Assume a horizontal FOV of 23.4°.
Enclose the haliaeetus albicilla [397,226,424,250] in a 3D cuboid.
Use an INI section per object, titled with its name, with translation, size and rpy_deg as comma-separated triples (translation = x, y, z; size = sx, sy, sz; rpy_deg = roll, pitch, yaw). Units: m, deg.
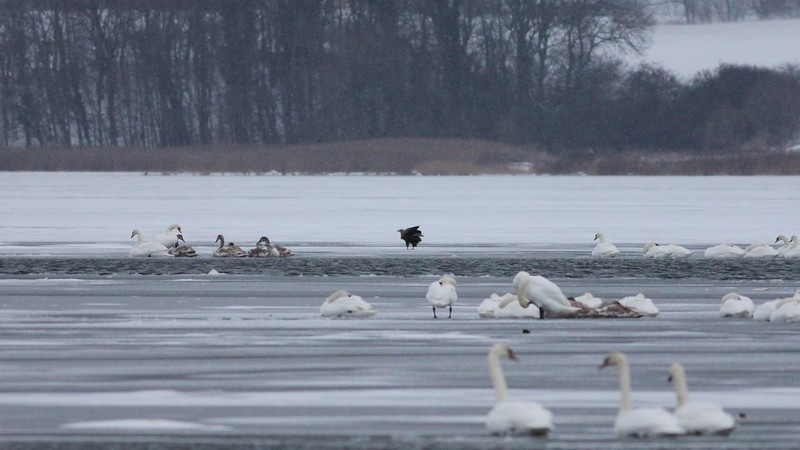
[haliaeetus albicilla]
translation = 0.619, 0.638, 118.317
size = 1.543, 0.827, 1.465
rpy_deg = 8, -7, 12
